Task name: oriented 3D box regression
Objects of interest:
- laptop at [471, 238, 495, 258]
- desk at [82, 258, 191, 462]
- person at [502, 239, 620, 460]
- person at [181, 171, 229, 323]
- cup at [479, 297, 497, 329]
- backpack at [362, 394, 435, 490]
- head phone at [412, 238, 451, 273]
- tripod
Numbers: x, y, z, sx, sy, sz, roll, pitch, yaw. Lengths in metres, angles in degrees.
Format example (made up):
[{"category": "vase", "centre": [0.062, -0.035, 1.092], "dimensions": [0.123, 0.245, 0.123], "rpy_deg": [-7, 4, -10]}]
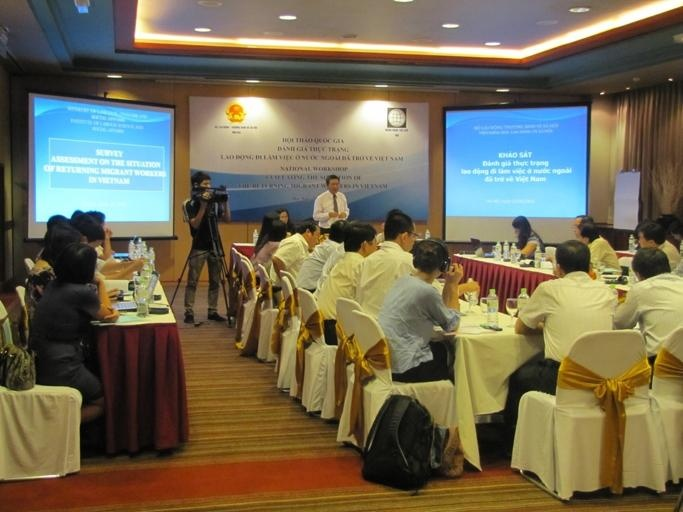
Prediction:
[{"category": "laptop", "centre": [2.192, -0.139, 8.971], "dimensions": [0.281, 0.218, 0.299], "rpy_deg": [-4, 3, -8]}, {"category": "desk", "centre": [-1.563, 0.758, 4.630], "dimensions": [0.585, 0.881, 1.683], "rpy_deg": [0, 8, -17]}, {"category": "person", "centre": [1.425, 0.634, 3.750], "dimensions": [0.672, 1.442, 0.436], "rpy_deg": [1, 7, 8]}, {"category": "person", "centre": [-1.711, -0.094, 7.378], "dimensions": [0.596, 1.941, 0.787], "rpy_deg": [-1, 7, -13]}, {"category": "cup", "centre": [1.065, 0.397, 4.155], "dimensions": [0.121, 0.233, 0.133], "rpy_deg": [1, -1, 0]}, {"category": "backpack", "centre": [0.376, 1.176, 3.607], "dimensions": [0.318, 0.525, 0.437], "rpy_deg": [13, -16, -28]}, {"category": "head phone", "centre": [0.586, -0.007, 3.773], "dimensions": [0.204, 0.208, 0.216], "rpy_deg": [2, 0, 5]}, {"category": "tripod", "centre": [-1.757, -0.016, 7.410], "dimensions": [0.624, 1.614, 0.626], "rpy_deg": [-2, -4, 3]}]
